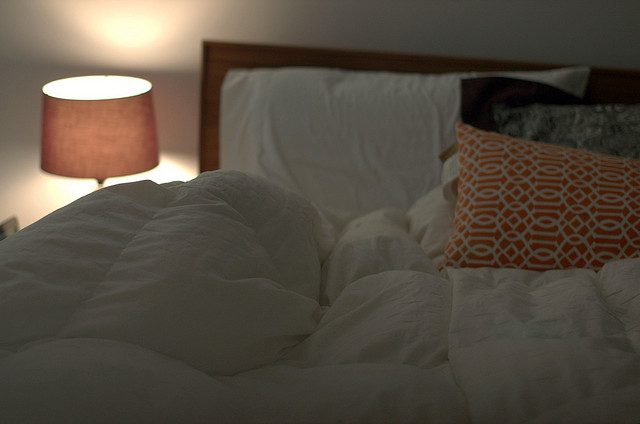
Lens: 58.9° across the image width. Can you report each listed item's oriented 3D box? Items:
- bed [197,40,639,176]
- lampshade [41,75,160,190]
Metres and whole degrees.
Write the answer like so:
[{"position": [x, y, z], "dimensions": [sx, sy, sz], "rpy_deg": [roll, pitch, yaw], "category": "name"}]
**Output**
[{"position": [0.296, -0.398, 2.216], "dimensions": [1.618, 0.532, 0.193], "rpy_deg": [2, 4, 3], "category": "bed"}, {"position": [-0.838, -0.229, 2.160], "dimensions": [0.414, 0.454, 0.407], "rpy_deg": [-3, 18, -23], "category": "lampshade"}]
